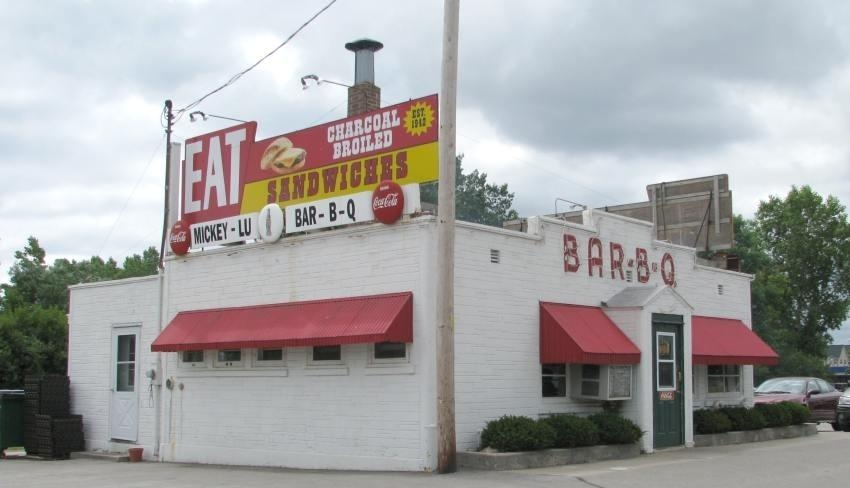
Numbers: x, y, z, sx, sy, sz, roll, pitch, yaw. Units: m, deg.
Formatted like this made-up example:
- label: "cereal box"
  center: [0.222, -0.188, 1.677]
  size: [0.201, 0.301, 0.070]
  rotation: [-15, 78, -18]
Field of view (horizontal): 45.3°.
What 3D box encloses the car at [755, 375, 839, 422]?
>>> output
- label: "car"
  center: [17.120, 7.325, 46.363]
  size: [4.090, 2.271, 2.622]
  rotation: [-1, 6, -12]
